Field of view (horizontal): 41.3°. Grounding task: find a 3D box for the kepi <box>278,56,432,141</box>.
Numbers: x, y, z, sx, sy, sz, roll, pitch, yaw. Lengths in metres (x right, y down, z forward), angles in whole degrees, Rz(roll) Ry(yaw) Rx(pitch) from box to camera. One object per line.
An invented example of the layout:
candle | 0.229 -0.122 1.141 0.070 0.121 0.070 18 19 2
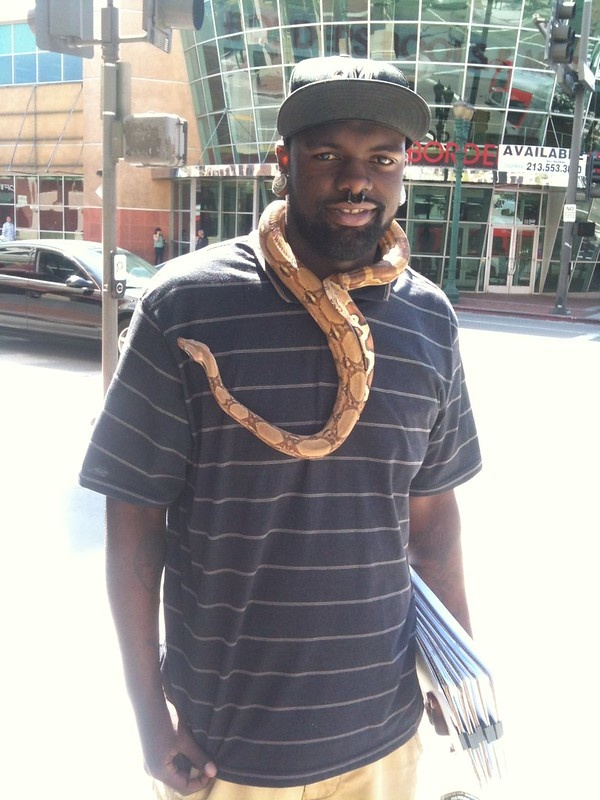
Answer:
kepi | 0.128 -0.689 1.821 0.353 0.185 0.167 2 14 -2

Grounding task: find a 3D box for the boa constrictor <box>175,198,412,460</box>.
boa constrictor | -0.082 -0.200 2.021 0.669 0.587 0.506 -6 19 -34
